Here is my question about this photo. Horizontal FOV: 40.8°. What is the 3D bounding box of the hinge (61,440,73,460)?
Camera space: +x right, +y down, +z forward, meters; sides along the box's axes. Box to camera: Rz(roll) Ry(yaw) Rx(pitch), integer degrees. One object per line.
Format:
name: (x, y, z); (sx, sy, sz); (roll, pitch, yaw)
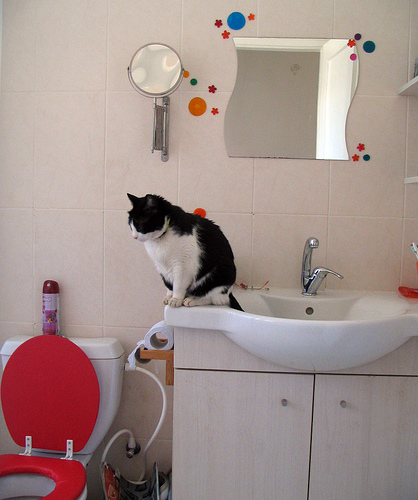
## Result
hinge: (-0.466, 0.663, 1.859); (0.035, 0.057, 0.045); (2, 0, -16)

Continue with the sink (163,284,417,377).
sink: (0.263, 0.241, 1.725); (0.800, 0.256, 0.474); (3, 0, -7)

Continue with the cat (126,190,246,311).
cat: (-0.013, -0.015, 1.759); (0.394, 0.389, 0.207); (-2, 15, -21)

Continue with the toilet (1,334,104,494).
toilet: (-0.529, 0.527, 1.862); (0.241, 0.558, 0.457); (0, 2, 0)
